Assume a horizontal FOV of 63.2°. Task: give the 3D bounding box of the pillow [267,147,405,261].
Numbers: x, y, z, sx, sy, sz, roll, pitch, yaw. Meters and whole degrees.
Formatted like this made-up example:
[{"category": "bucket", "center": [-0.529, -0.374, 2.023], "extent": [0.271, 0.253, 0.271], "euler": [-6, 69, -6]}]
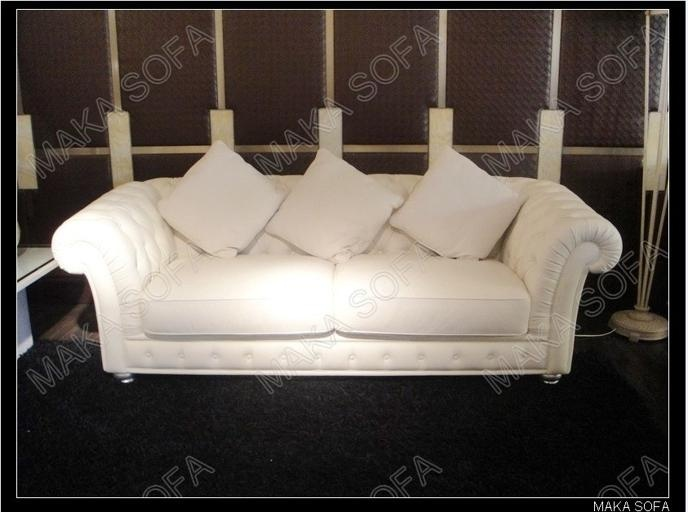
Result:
[{"category": "pillow", "center": [-0.057, -0.220, 2.772], "extent": [0.521, 0.536, 0.157], "euler": [33, -6, 7]}]
